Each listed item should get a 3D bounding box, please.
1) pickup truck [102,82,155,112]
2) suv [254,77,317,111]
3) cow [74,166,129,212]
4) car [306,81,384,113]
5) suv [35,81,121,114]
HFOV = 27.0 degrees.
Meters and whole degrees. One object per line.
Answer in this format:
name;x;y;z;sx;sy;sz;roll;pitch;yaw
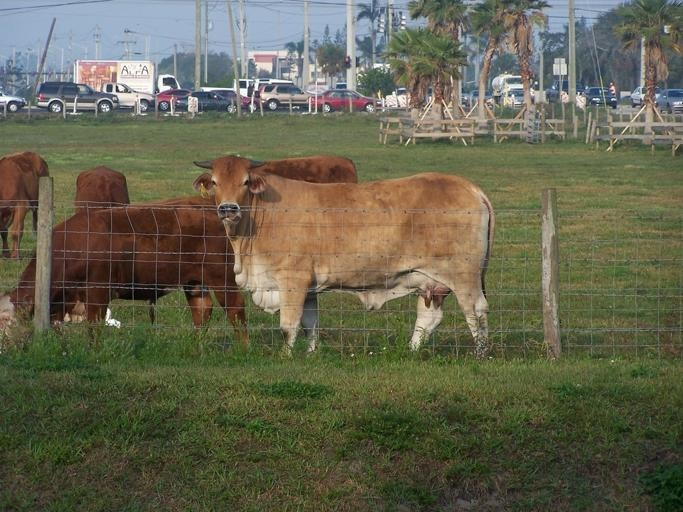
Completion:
pickup truck;-10.900;-7.947;72.506;2.576;1.618;1.493;-1;7;4
suv;-2.948;-8.272;73.635;2.907;1.469;1.480;-5;14;-13
cow;-4.714;-1.315;28.037;0.652;0.760;1.201;-2;-1;-2
car;0.095;-7.861;72.264;3.210;1.268;1.599;-4;7;-4
suv;-12.226;-7.437;66.957;3.917;1.431;2.942;-4;6;-33
